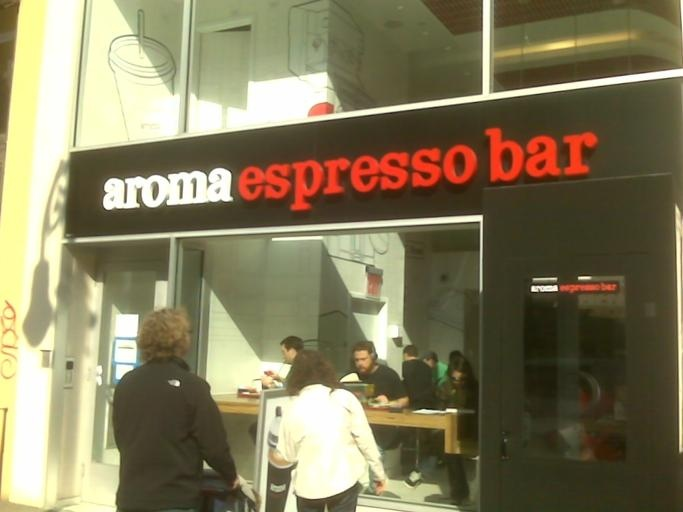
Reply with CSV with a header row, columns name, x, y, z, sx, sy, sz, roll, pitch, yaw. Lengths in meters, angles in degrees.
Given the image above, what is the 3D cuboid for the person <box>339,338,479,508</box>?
name,x,y,z,sx,sy,sz,roll,pitch,yaw
person,0.744,1.810,7.460,1.424,1.556,0.760,-10,-16,41
